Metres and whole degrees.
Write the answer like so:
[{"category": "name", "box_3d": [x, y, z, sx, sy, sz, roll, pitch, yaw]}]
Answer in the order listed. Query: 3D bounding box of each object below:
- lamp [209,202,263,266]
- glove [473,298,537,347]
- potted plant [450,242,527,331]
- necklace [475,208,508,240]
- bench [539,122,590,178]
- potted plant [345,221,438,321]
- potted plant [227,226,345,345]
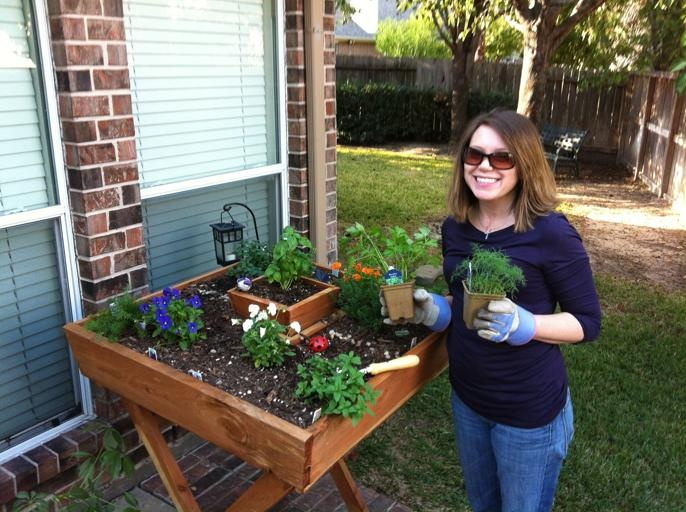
[{"category": "lamp", "box_3d": [-0.816, -0.175, 3.386, 0.475, 0.536, 0.317, -3, 13, -34]}, {"category": "glove", "box_3d": [0.651, 0.258, 1.895, 0.245, 0.170, 0.084, 2, 20, 3]}, {"category": "potted plant", "box_3d": [0.613, 0.171, 2.007, 0.206, 0.272, 0.205, 14, 19, 10]}, {"category": "necklace", "box_3d": [0.645, -0.142, 2.098, 0.108, 0.124, 0.035, 16, 12, 16]}, {"category": "bench", "box_3d": [4.799, -2.265, 10.356, 0.698, 0.724, 0.805, -40, 37, -19]}, {"category": "potted plant", "box_3d": [0.314, 0.092, 2.913, 0.493, 0.612, 0.576, -3, 13, 6]}, {"category": "potted plant", "box_3d": [-0.316, 0.146, 2.760, 0.549, 0.493, 0.596, 2, 15, 7]}]
